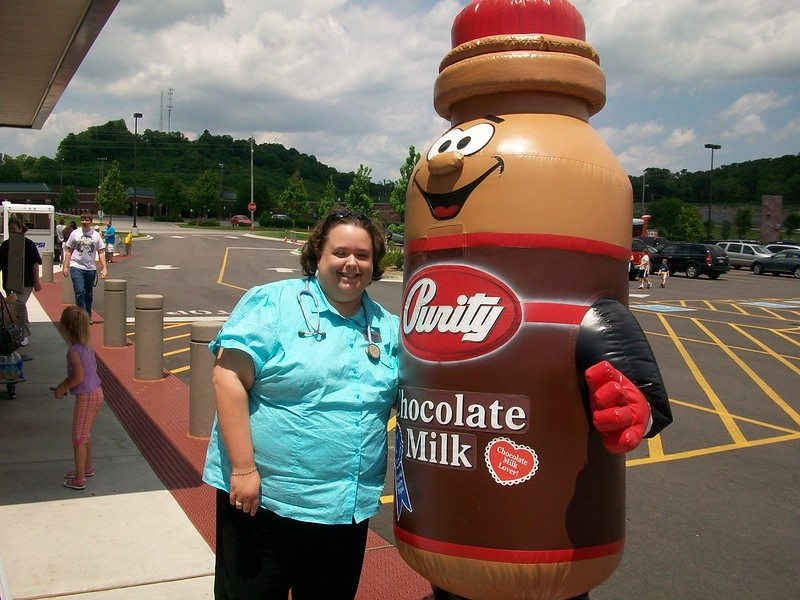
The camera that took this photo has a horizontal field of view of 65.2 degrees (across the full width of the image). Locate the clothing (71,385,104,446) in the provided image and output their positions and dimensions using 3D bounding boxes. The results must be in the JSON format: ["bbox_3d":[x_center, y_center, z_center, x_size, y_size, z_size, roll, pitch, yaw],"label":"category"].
[{"bbox_3d":[-2.575,0.952,5.154,0.200,0.436,0.224,2,4,-28],"label":"clothing"}]

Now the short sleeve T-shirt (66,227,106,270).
[{"bbox_3d":[-5.352,-0.944,10.646,0.546,0.721,0.463,1,4,-29],"label":"short sleeve T-shirt"}]

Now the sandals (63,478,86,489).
[{"bbox_3d":[-2.656,1.489,5.106,0.187,0.080,0.087,7,3,11],"label":"sandals"}]

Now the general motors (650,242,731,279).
[{"bbox_3d":[14.776,-1.988,32.353,2.333,1.834,4.693,-1,11,-29],"label":"general motors"}]
